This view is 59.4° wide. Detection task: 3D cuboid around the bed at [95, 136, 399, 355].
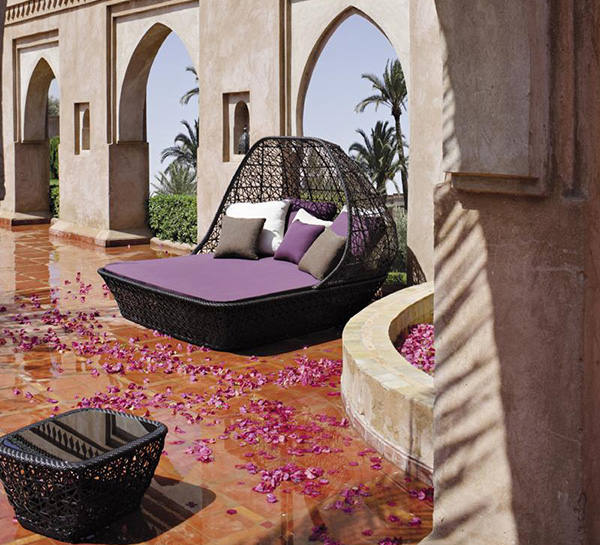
[{"bbox_3d":[-0.282,-0.122,5.765,2.894,2.048,2.894,-8,12,-39],"label":"bed"}]
